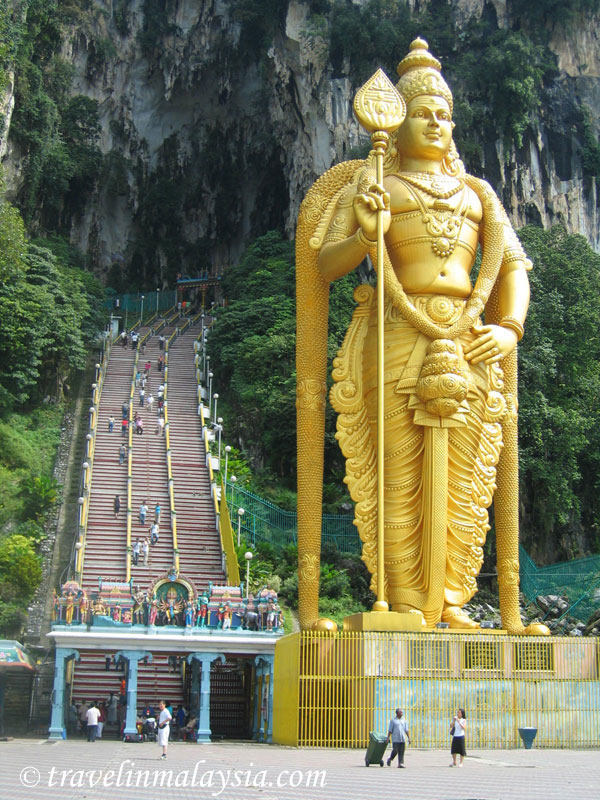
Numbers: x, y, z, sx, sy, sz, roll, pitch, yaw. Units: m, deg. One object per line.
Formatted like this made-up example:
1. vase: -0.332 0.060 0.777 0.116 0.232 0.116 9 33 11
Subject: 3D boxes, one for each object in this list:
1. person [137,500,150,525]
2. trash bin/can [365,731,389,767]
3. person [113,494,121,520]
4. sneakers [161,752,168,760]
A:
1. person: -3.083 2.267 23.385 0.199 0.471 0.724 0 -10 -6
2. trash bin/can: 0.635 2.994 10.143 0.198 0.289 0.376 -1 -10 3
3. person: -3.662 2.144 23.771 0.170 0.475 0.743 1 -10 -9
4. sneakers: -1.384 3.628 12.104 0.063 0.060 0.140 -2 -22 -4
